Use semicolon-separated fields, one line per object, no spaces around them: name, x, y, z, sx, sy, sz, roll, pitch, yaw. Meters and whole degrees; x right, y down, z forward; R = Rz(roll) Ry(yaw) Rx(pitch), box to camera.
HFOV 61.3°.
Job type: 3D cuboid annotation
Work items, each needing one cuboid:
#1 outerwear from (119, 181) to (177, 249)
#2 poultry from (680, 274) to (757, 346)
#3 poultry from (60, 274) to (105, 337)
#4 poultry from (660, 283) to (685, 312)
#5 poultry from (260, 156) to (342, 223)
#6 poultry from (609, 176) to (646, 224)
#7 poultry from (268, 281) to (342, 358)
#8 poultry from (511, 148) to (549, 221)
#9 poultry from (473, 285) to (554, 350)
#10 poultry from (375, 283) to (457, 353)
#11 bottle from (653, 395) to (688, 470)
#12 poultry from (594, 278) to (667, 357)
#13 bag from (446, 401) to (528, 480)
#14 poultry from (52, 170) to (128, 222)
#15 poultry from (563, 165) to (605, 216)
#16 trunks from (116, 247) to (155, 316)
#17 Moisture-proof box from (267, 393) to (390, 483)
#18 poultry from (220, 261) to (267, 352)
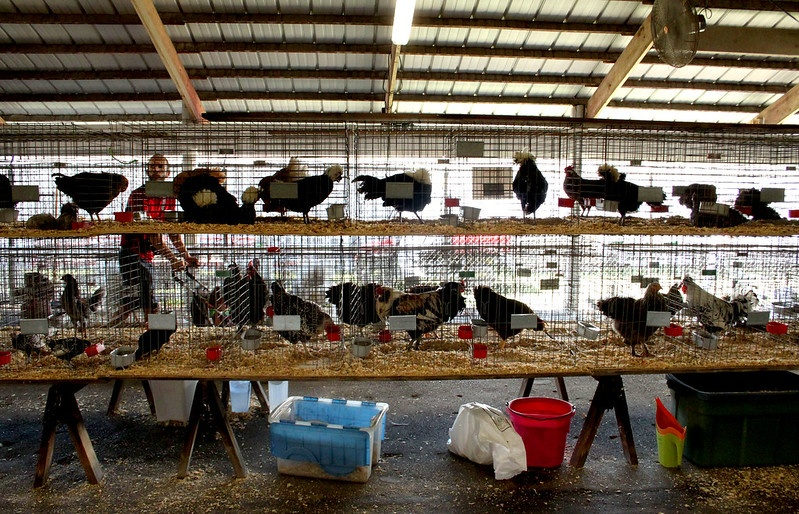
outerwear;-3.002;-0.450;7.901;0.698;0.694;0.661;2;-7;-18
poultry;3.874;0.647;8.266;1.085;0.686;0.344;8;5;-8
poultry;-3.996;0.578;8.493;0.411;0.717;0.470;0;1;17
poultry;3.317;0.516;8.124;0.279;0.331;0.080;9;-18;-7
poultry;-1.137;-0.748;7.788;0.988;0.790;0.335;-6;19;-24
poultry;2.600;-0.646;7.840;0.408;0.542;0.206;5;6;9
poultry;-1.199;0.689;8.168;0.708;0.773;0.370;0;1;-12
poultry;1.559;-0.836;7.945;0.426;0.874;0.366;7;-16;-42
poultry;1.297;0.735;8.043;0.998;0.681;0.344;6;-1;25
poultry;0.238;0.657;7.962;1.048;0.693;0.173;0;1;-2
bottle;3.111;2.062;7.734;0.369;0.614;0.329;3;-2;32
poultry;2.713;0.731;7.876;0.758;0.849;0.332;1;1;26
bag;0.974;2.041;7.614;0.535;0.501;0.913;1;2;-39
poultry;-3.560;-0.695;7.789;0.839;0.545;0.260;0;1;2
poultry;2.179;-0.799;8.012;0.469;0.498;0.353;0;1;12
trunks;-3.285;0.315;8.291;0.160;0.767;0.516;-3;-2;34
Moisture-proof box;-0.817;2.029;7.679;1.212;0.586;0.800;1;5;6
poultry;-1.908;0.541;8.341;0.534;0.905;0.226;0;1;-15
